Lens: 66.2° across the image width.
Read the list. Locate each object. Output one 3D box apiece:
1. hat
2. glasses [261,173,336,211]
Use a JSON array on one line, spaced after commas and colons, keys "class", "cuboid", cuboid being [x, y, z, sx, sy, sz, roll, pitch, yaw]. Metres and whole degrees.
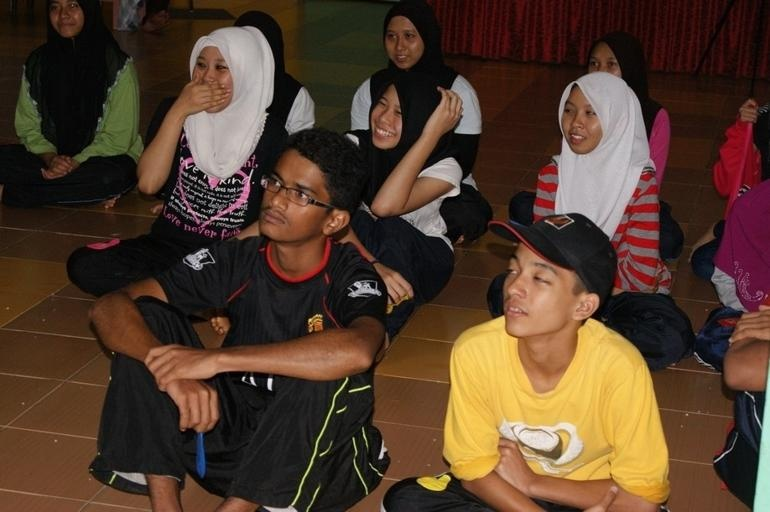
[{"class": "hat", "cuboid": [0.529, -0.023, 1.801, 0.334, 0.167, 0.227, 35, 0, -14]}, {"class": "glasses", "cuboid": [-0.326, -0.220, 2.042, 0.151, 0.040, 0.157, 20, -2, 39]}]
